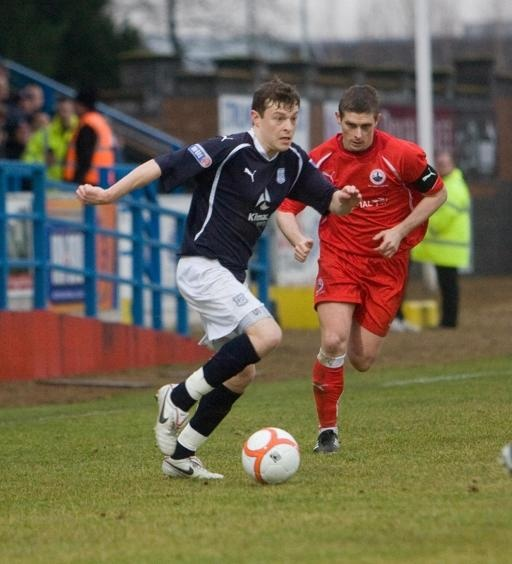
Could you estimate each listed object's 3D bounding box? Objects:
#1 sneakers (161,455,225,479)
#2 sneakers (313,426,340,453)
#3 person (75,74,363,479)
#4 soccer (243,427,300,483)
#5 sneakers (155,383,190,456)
[{"bbox_3d":[-0.331,0.916,5.596,0.356,0.119,0.105,5,0,-4],"label":"sneakers"},{"bbox_3d":[0.394,0.860,6.161,0.104,0.107,0.263,-1,-8,9],"label":"sneakers"},{"bbox_3d":[-0.135,-0.026,5.649,1.330,1.966,0.567,-1,3,-13],"label":"person"},{"bbox_3d":[0.081,0.868,5.555,0.312,0.272,0.291,-4,20,-9],"label":"soccer"},{"bbox_3d":[-0.416,0.675,5.582,0.213,0.368,0.132,5,0,21],"label":"sneakers"}]
